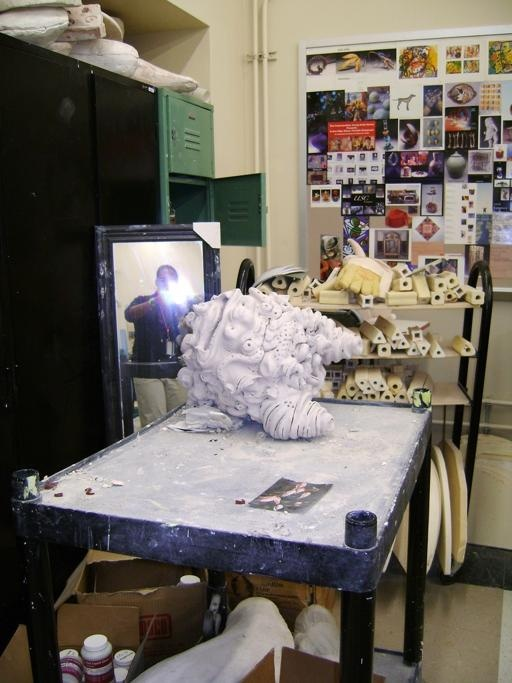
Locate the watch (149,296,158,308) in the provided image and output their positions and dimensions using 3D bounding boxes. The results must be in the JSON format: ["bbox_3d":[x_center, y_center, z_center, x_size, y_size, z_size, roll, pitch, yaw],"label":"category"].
[{"bbox_3d":[-0.316,-0.122,1.761,0.023,0.031,0.010,19,-5,15],"label":"watch"}]
